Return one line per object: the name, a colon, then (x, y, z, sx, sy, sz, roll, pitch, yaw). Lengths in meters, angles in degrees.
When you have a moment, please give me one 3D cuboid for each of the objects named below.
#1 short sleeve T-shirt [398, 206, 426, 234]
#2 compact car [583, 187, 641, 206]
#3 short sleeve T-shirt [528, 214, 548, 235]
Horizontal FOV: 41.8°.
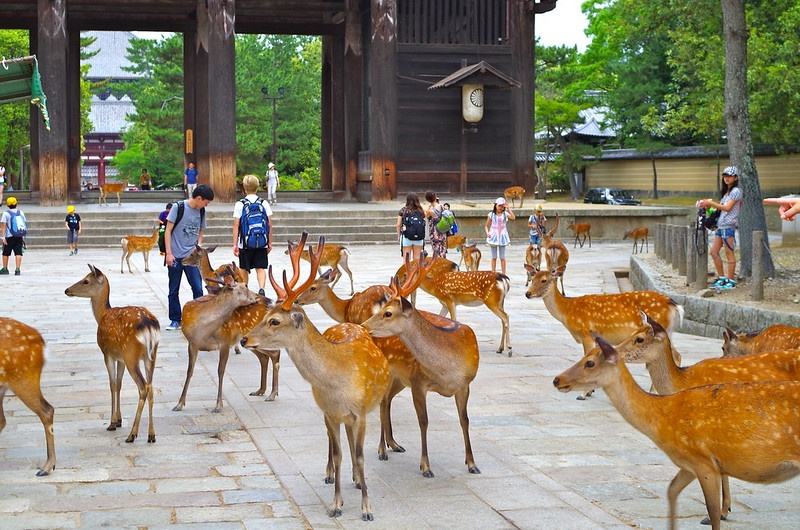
short sleeve T-shirt: (0.201, -0.862, 20.419, 0.366, 0.511, 0.491, 1, -7, -9)
compact car: (10.238, -3.346, 50.796, 1.433, 1.267, 2.779, -3, 4, -33)
short sleeve T-shirt: (3.343, -1.044, 25.664, 0.543, 0.653, 0.632, 0, -3, 3)
